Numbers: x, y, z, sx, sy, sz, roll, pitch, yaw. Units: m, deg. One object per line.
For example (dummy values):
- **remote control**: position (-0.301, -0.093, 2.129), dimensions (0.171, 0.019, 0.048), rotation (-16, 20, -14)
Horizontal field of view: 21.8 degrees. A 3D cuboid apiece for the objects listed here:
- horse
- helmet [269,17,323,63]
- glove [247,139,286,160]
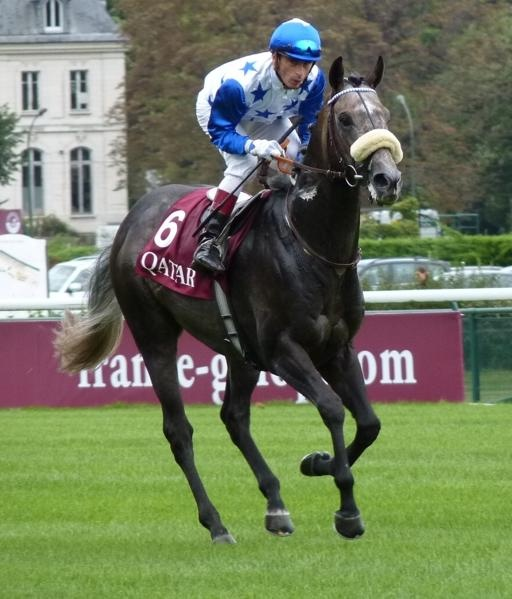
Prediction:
- **horse**: position (-0.149, 0.076, 6.741), dimensions (0.888, 2.143, 3.574), rotation (-1, 2, -29)
- **helmet**: position (0.186, -1.146, 5.909), dimensions (0.188, 0.113, 0.229), rotation (2, 17, -27)
- **glove**: position (0.039, -0.669, 5.907), dimensions (0.133, 0.041, 0.089), rotation (11, 39, 19)
